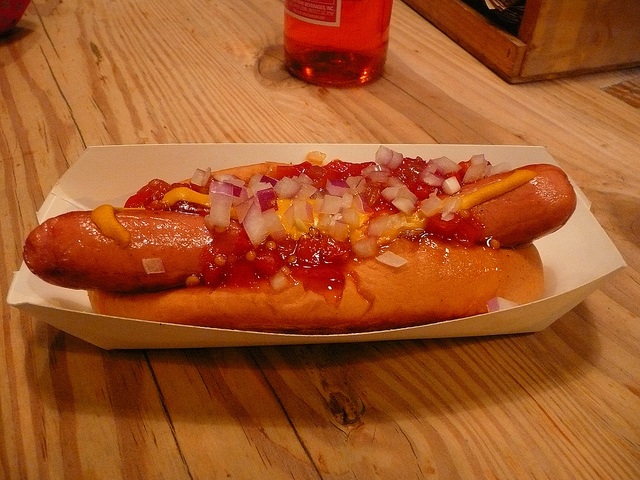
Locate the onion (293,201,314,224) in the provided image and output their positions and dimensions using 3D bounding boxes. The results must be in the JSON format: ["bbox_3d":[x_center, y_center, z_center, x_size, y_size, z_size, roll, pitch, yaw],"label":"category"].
[{"bbox_3d":[-0.052,-0.085,1.525,0.084,0.019,0.058,0,65,-17],"label":"onion"}]

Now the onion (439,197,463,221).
[{"bbox_3d":[0.392,-0.095,1.541,0.059,0.023,0.073,19,88,15],"label":"onion"}]

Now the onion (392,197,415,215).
[{"bbox_3d":[0.256,-0.104,1.553,0.029,0.036,0.053,-44,49,-11],"label":"onion"}]

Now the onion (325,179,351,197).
[{"bbox_3d":[0.054,-0.167,1.608,0.086,0.041,0.065,1,17,-22],"label":"onion"}]

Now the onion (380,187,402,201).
[{"bbox_3d":[0.217,-0.146,1.584,0.067,0.021,0.045,-29,53,-16],"label":"onion"}]

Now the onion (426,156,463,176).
[{"bbox_3d":[0.416,-0.250,1.724,0.135,0.033,0.089,1,55,-1],"label":"onion"}]

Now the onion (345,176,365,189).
[{"bbox_3d":[0.110,-0.186,1.631,0.053,0.012,0.043,8,49,14],"label":"onion"}]

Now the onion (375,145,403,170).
[{"bbox_3d":[0.233,-0.282,1.794,0.124,0.068,0.080,20,16,-3],"label":"onion"}]

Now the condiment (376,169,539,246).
[{"bbox_3d":[0.440,-0.095,1.629,0.523,0.087,0.072,-30,68,23],"label":"condiment"}]

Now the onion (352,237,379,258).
[{"bbox_3d":[0.131,0.021,1.480,0.081,0.025,0.058,-9,90,3],"label":"onion"}]

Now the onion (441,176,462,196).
[{"bbox_3d":[0.404,-0.167,1.607,0.067,0.029,0.055,-29,77,-12],"label":"onion"}]

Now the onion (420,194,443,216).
[{"bbox_3d":[0.340,-0.106,1.545,0.065,0.017,0.049,-43,70,-2],"label":"onion"}]

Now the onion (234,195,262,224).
[{"bbox_3d":[-0.220,-0.095,1.563,0.083,0.020,0.074,-30,54,0],"label":"onion"}]

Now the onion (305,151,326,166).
[{"bbox_3d":[-0.019,-0.300,1.873,0.084,0.026,0.052,-1,44,-12],"label":"onion"}]

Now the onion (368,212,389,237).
[{"bbox_3d":[0.174,-0.046,1.531,0.058,0.031,0.070,33,80,10],"label":"onion"}]

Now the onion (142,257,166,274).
[{"bbox_3d":[-0.482,0.074,1.460,0.061,0.042,0.014,-10,15,-7],"label":"onion"}]

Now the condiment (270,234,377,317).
[{"bbox_3d":[-0.028,0.095,1.583,0.312,0.092,0.443,-3,20,-22],"label":"condiment"}]

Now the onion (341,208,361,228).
[{"bbox_3d":[0.096,-0.069,1.542,0.066,0.015,0.053,17,53,-7],"label":"onion"}]

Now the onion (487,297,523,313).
[{"bbox_3d":[0.572,0.198,1.556,0.069,0.015,0.061,-4,24,-12],"label":"onion"}]

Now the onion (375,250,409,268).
[{"bbox_3d":[0.213,0.057,1.514,0.078,0.018,0.042,25,52,18],"label":"onion"}]

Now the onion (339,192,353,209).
[{"bbox_3d":[0.090,-0.120,1.584,0.051,0.040,0.041,12,56,13],"label":"onion"}]

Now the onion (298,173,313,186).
[{"bbox_3d":[-0.047,-0.197,1.642,0.040,0.015,0.043,39,39,26],"label":"onion"}]
